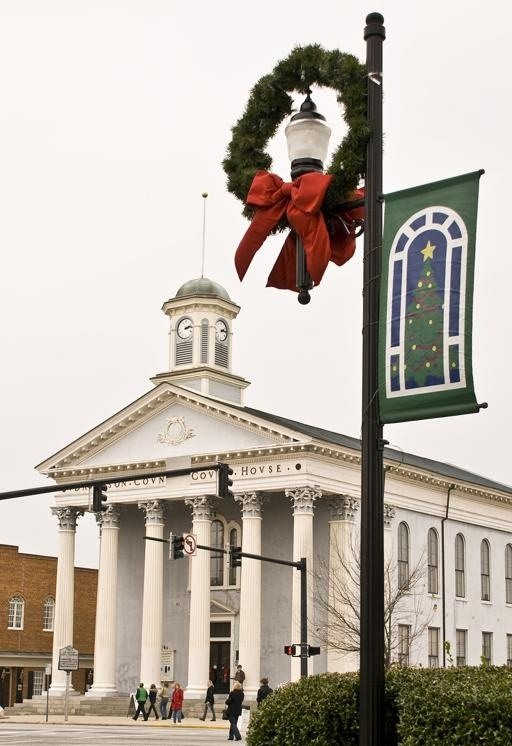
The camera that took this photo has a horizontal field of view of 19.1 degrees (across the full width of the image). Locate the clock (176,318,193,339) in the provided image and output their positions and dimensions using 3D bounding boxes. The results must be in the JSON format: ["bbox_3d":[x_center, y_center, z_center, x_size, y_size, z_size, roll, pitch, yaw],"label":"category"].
[{"bbox_3d":[-2.573,-1.620,55.533,0.157,0.788,0.843,4,-2,-45],"label":"clock"}]

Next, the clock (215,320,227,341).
[{"bbox_3d":[-1.272,-1.564,55.565,0.048,0.714,0.681,-5,-10,23],"label":"clock"}]
